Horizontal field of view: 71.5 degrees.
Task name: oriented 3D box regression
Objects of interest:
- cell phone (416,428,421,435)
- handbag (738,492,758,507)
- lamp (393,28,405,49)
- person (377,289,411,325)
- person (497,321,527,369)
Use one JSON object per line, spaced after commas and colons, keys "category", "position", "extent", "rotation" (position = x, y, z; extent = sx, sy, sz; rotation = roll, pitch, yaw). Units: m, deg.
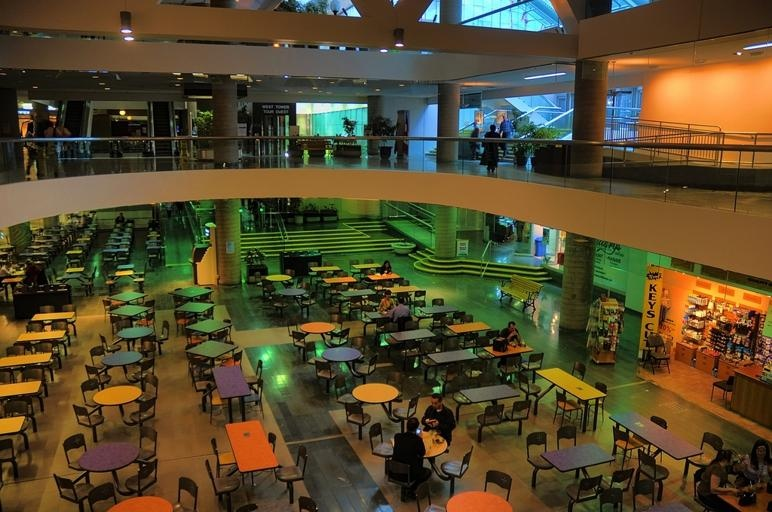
{"category": "cell phone", "position": [0.756, 4.158, 12.630], "extent": [0.174, 0.117, 0.091], "rotation": [-3, 7, -18]}
{"category": "handbag", "position": [7.593, 5.138, 11.299], "extent": [0.310, 0.190, 0.295], "rotation": [-6, 9, -20]}
{"category": "lamp", "position": [0.388, -6.531, 16.039], "extent": [0.350, 0.525, 0.369], "rotation": [-2, 13, -4]}
{"category": "person", "position": [0.398, 1.884, 19.575], "extent": [0.989, 0.844, 1.197], "rotation": [-6, 12, -21]}
{"category": "person", "position": [4.007, 2.969, 17.074], "extent": [0.674, 1.738, 0.587], "rotation": [1, 18, 15]}
